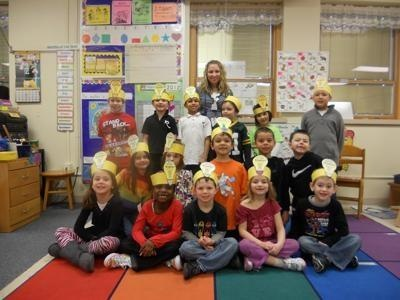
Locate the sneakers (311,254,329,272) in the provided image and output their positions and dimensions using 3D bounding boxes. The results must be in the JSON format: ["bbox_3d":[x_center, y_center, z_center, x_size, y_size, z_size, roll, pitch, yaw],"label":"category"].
[{"bbox_3d":[1.035,0.975,2.958,0.078,0.071,0.176,-5,15,5],"label":"sneakers"}]

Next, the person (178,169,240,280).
[{"bbox_3d":[0.056,0.593,3.034,0.510,0.858,0.523,-3,15,-10],"label":"person"}]

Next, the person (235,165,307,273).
[{"bbox_3d":[0.616,0.604,3.084,0.554,0.812,0.488,0,14,-1],"label":"person"}]

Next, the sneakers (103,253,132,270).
[{"bbox_3d":[-0.709,0.960,3.006,0.263,0.108,0.110,1,-3,-40],"label":"sneakers"}]

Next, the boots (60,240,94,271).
[{"bbox_3d":[-1.074,0.930,3.001,0.294,0.131,0.180,14,27,38],"label":"boots"}]

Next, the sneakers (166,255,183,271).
[{"bbox_3d":[-0.218,0.980,2.990,0.135,0.057,0.087,8,17,41],"label":"sneakers"}]

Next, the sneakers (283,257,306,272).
[{"bbox_3d":[0.819,0.990,2.968,0.203,0.082,0.087,3,15,10],"label":"sneakers"}]

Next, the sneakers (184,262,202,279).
[{"bbox_3d":[-0.080,1.011,2.918,0.166,0.110,0.121,-8,16,-28],"label":"sneakers"}]

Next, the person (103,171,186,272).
[{"bbox_3d":[-0.342,0.641,3.369,0.820,1.068,0.753,1,-7,6],"label":"person"}]

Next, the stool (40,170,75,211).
[{"bbox_3d":[-1.899,0.528,4.632,0.425,0.458,0.436,-1,3,-6],"label":"stool"}]
